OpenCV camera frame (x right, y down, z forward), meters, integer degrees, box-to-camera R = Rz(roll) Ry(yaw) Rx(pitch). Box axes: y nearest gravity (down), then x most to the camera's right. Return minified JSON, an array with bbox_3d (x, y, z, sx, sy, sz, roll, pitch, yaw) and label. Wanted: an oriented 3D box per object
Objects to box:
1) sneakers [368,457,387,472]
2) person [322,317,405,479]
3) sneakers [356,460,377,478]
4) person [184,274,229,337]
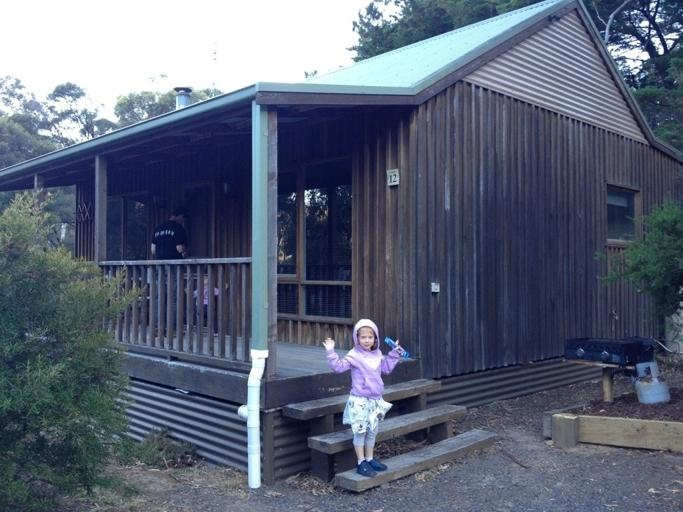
[{"bbox_3d":[0.382,2.179,6.699,0.178,0.086,0.101,-2,-5,36],"label":"sneakers"},{"bbox_3d":[0.254,1.471,6.743,0.781,1.592,0.501,-2,-4,-3],"label":"person"},{"bbox_3d":[0.256,2.200,6.637,0.093,0.105,0.206,0,-4,-36],"label":"sneakers"},{"bbox_3d":[-1.885,0.633,8.781,0.387,0.893,2.757,-2,-5,-13],"label":"person"}]
